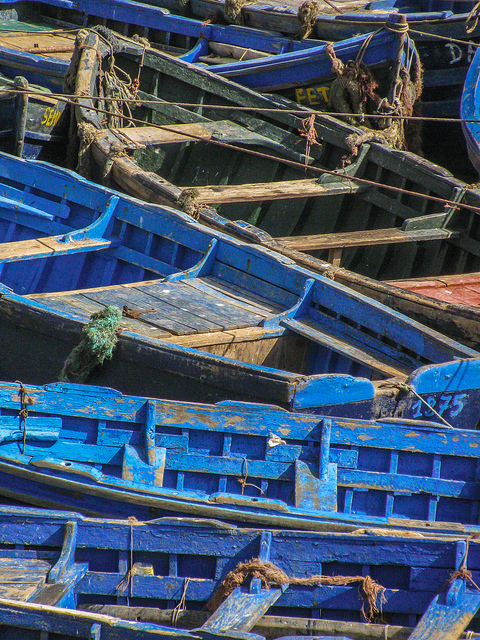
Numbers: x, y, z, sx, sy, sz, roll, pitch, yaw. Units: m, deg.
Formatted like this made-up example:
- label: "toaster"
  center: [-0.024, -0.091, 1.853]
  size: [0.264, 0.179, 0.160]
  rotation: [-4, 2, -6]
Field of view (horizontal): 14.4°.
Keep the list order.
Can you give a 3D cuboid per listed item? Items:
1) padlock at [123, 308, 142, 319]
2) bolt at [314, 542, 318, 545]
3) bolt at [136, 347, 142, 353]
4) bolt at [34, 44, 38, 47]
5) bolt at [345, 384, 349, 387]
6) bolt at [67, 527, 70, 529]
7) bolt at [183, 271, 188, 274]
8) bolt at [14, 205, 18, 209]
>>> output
- label: "padlock"
  center: [-0.960, -0.049, 16.676]
  size: [0.149, 0.077, 0.159]
  rotation: [9, 5, 17]
- label: "bolt"
  center: [0.588, 1.739, 14.881]
  size: [0.025, 0.017, 0.001]
  rotation: [8, 6, -2]
- label: "bolt"
  center: [-0.867, 0.254, 15.912]
  size: [0.026, 0.044, 0.011]
  rotation: [0, 9, 17]
- label: "bolt"
  center: [-2.544, -3.321, 23.280]
  size: [0.079, 0.020, 0.072]
  rotation: [0, 32, 1]
- label: "bolt"
  center: [0.868, 0.534, 15.566]
  size: [0.025, 0.023, 0.007]
  rotation: [-1, 3, 17]
- label: "bolt"
  center: [-1.373, 1.622, 14.910]
  size: [0.013, 0.005, 0.021]
  rotation: [-8, 27, -31]
- label: "bolt"
  center: [-0.525, -0.431, 17.537]
  size: [0.026, 0.022, 0.007]
  rotation: [-4, -22, 12]
- label: "bolt"
  center: [-2.206, -1.079, 18.387]
  size: [0.023, 0.039, 0.009]
  rotation: [-7, -11, -2]
